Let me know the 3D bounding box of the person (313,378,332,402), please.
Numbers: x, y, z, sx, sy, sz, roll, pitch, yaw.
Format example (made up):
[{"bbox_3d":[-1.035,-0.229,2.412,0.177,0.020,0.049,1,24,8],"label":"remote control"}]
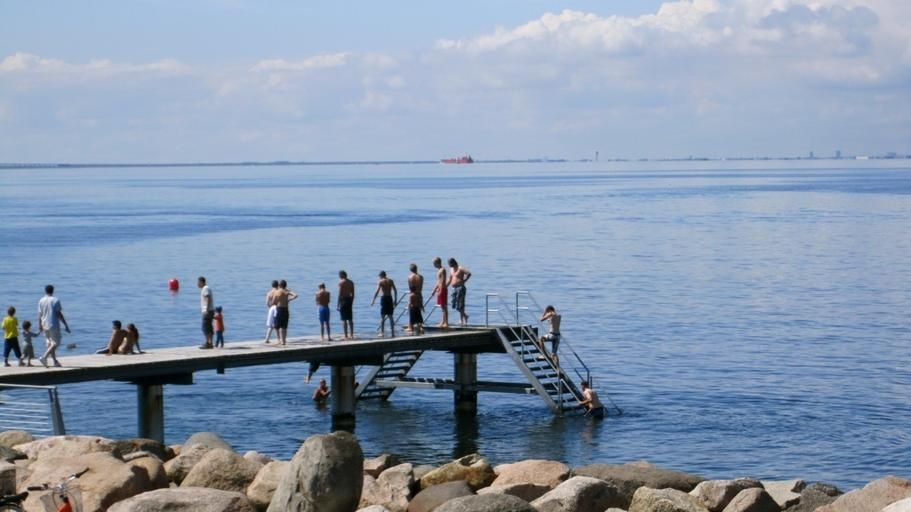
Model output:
[{"bbox_3d":[-10.194,10.517,148.385,1.227,1.702,1.577,-1,4,23],"label":"person"}]

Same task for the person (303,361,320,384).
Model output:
[{"bbox_3d":[-10.974,9.163,149.580,0.853,0.552,2.303,24,-13,5],"label":"person"}]
